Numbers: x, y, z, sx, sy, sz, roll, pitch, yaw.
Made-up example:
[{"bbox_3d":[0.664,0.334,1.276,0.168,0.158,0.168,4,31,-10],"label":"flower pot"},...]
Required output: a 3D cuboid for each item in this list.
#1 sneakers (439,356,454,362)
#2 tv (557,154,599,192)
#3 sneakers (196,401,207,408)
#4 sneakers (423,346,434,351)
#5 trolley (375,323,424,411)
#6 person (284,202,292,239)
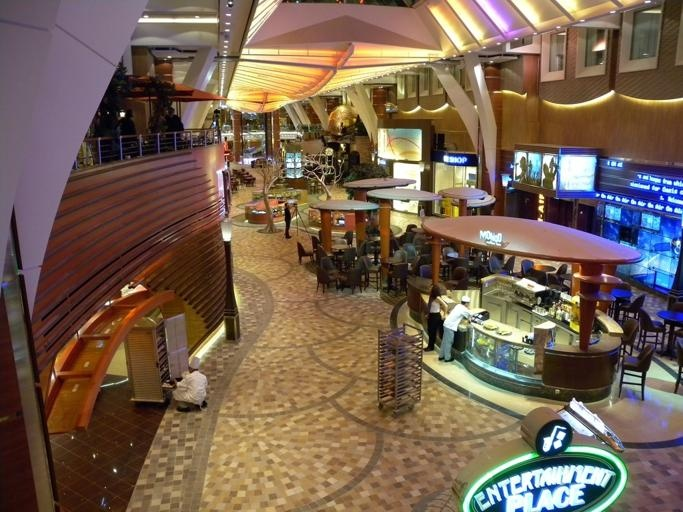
[{"bbox_3d":[2.453,2.438,10.927,0.331,0.148,0.112,-2,18,-6],"label":"sneakers"},{"bbox_3d":[8.278,-2.971,16.810,1.252,1.297,1.332,-1,11,3],"label":"tv"},{"bbox_3d":[-2.797,2.971,9.349,0.142,0.131,0.115,-4,-11,-16],"label":"sneakers"},{"bbox_3d":[2.157,2.271,11.440,0.273,0.111,0.084,-5,16,-18],"label":"sneakers"},{"bbox_3d":[1.131,2.215,9.422,0.936,1.740,0.665,0,12,1],"label":"trolley"},{"bbox_3d":[-2.775,-1.818,23.584,0.340,1.780,1.270,-3,11,-8],"label":"person"}]
